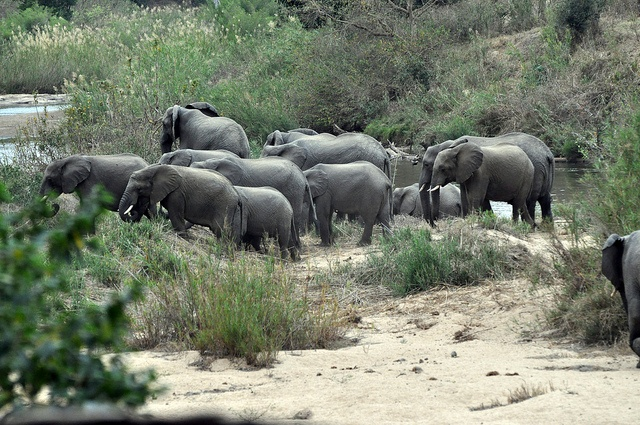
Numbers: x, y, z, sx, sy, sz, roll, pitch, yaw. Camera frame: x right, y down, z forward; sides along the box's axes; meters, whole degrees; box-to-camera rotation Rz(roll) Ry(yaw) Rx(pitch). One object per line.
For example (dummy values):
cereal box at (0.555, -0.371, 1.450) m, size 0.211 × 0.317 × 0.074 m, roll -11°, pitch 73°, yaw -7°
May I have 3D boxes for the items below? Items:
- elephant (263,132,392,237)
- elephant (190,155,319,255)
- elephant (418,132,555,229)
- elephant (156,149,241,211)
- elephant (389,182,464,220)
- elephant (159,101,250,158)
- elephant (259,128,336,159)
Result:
elephant at (0.033, -0.958, 14.416) m, size 2.363 × 1.393 × 1.090 m, roll 4°, pitch 3°, yaw 13°
elephant at (-1.093, -0.315, 12.467) m, size 2.178 × 1.379 × 1.073 m, roll 3°, pitch 2°, yaw -4°
elephant at (3.077, -0.446, 13.631) m, size 2.152 × 1.738 × 0.914 m, roll -1°, pitch 5°, yaw -3°
elephant at (-2.086, -0.760, 12.349) m, size 1.132 × 0.632 × 0.511 m, roll 2°, pitch 0°, yaw -10°
elephant at (2.128, -0.249, 14.971) m, size 1.371 × 0.836 × 0.622 m, roll 4°, pitch 5°, yaw 34°
elephant at (-2.159, -1.652, 14.866) m, size 1.995 × 1.334 × 0.918 m, roll 16°, pitch 13°, yaw 40°
elephant at (-0.478, -1.550, 15.587) m, size 1.473 × 0.907 × 0.732 m, roll 2°, pitch 6°, yaw 10°
